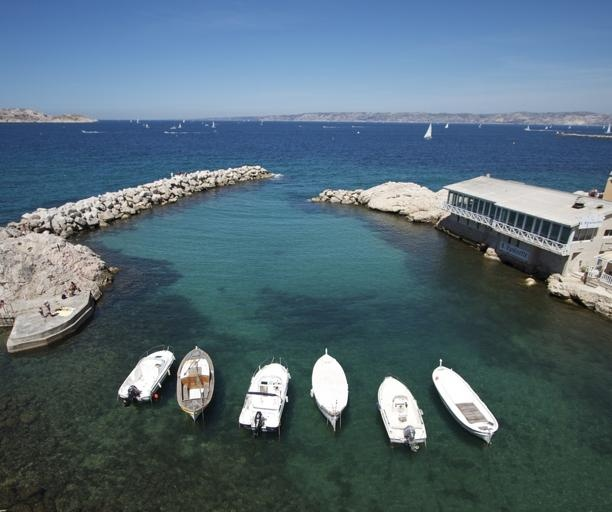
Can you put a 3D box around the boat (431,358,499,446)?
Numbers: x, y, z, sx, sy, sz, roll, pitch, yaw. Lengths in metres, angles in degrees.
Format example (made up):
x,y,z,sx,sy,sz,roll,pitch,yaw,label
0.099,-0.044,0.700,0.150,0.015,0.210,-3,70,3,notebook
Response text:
x,y,z,sx,sy,sz,roll,pitch,yaw,label
12.146,11.536,35.687,2.518,2.261,6.206,-7,22,-15,boat

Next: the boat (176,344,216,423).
x,y,z,sx,sy,sz,roll,pitch,yaw,label
-8.734,10.043,36.609,2.704,2.277,5.903,-4,21,-10,boat

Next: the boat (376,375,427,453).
x,y,z,sx,sy,sz,roll,pitch,yaw,label
7.123,11.951,35.209,3.414,2.109,6.101,1,30,-7,boat

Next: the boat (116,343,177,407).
x,y,z,sx,sy,sz,roll,pitch,yaw,label
-12.900,9.675,38.008,3.105,1.764,5.705,0,29,14,boat

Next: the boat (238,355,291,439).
x,y,z,sx,sy,sz,roll,pitch,yaw,label
-3.025,11.020,36.463,3.695,1.850,8.305,1,14,5,boat
